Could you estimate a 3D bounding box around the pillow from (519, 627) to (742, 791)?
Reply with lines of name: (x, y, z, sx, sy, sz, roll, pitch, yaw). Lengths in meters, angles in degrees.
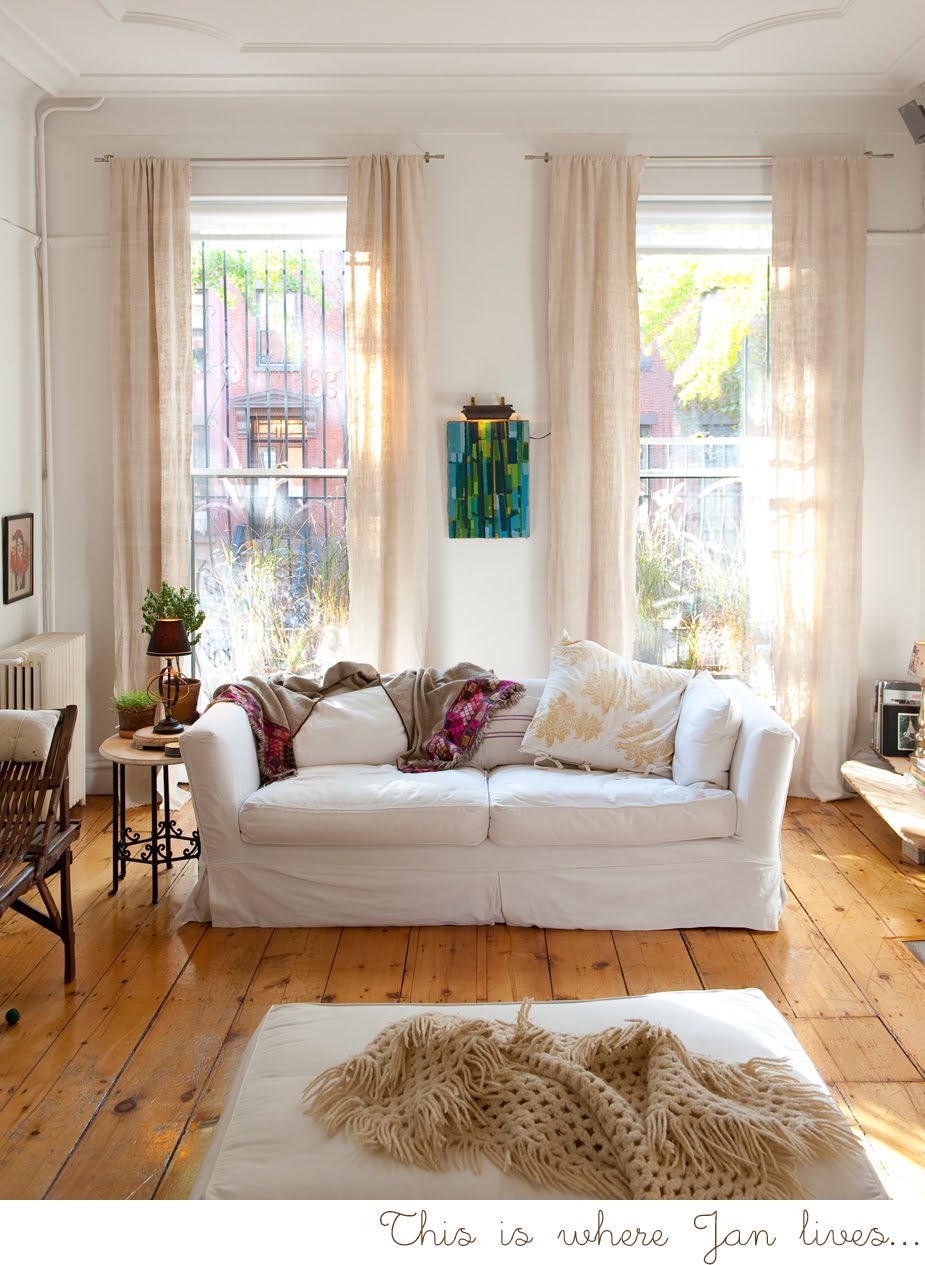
pillow: (0.553, 0.256, 3.398, 0.549, 0.479, 0.184, 12, -17, 15)

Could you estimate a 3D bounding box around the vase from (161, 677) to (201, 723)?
vase: (-1.057, 0.265, 3.869, 0.160, 0.188, 0.173, 2, 10, 2)

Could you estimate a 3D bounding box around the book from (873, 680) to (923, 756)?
book: (1.960, 0.397, 4.496, 0.178, 0.328, 0.146, 3, 10, 24)

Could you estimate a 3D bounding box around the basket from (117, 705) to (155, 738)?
basket: (-1.271, 0.346, 3.858, 0.116, 0.086, 0.108, 2, 3, 11)

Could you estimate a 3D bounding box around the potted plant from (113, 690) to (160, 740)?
potted plant: (-1.281, 0.321, 3.895, 0.150, 0.165, 0.153, 1, -3, -26)
